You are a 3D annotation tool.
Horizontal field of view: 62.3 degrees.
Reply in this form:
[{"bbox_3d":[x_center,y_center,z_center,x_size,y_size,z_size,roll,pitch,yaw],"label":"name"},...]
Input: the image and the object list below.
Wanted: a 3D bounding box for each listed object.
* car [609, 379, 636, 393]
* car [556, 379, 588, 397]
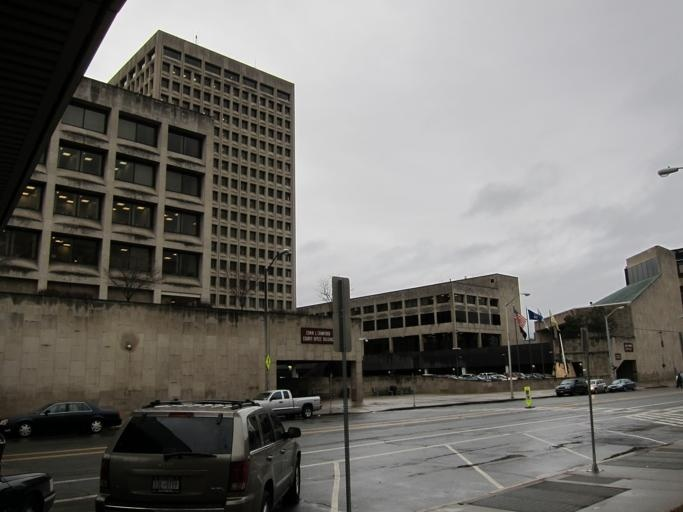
[{"bbox_3d":[31.649,14.612,63.786,4.729,1.267,0.941,8,-20,-38],"label":"car"},{"bbox_3d":[23.528,13.370,57.758,4.514,1.810,1.446,5,-18,-31],"label":"car"}]
